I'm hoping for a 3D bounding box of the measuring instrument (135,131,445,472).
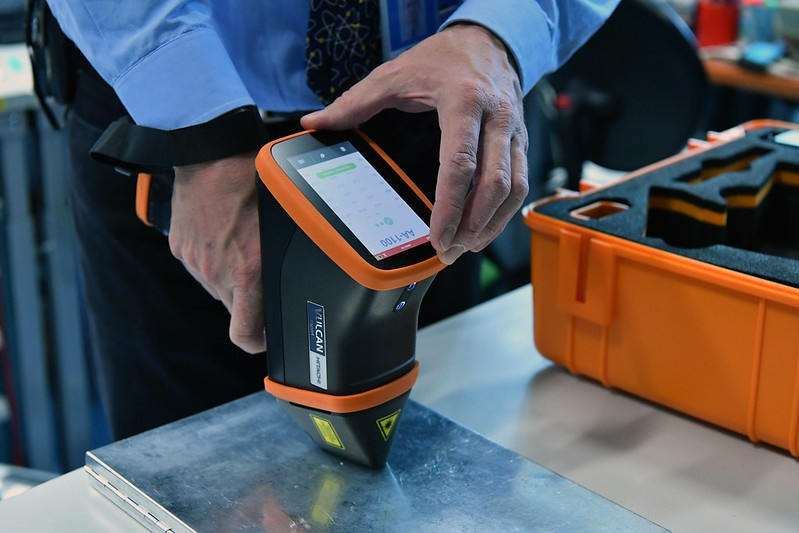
[{"bbox_3d":[-0.060,0.039,0.800,0.222,0.351,0.172,-21,32,-21],"label":"measuring instrument"}]
